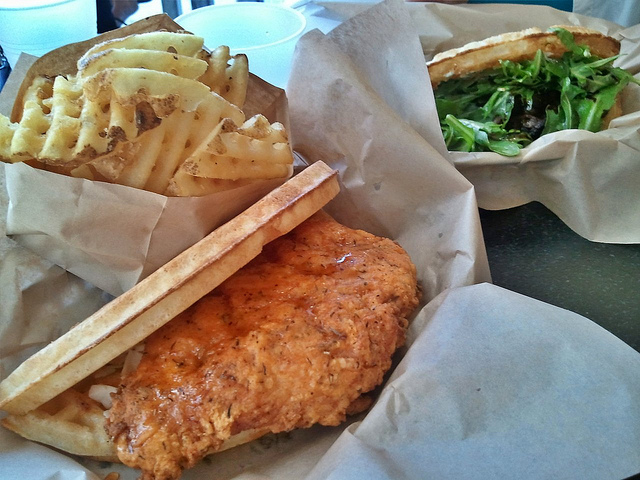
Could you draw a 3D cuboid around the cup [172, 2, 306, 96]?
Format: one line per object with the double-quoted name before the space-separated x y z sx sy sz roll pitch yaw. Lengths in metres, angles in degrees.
"cup" -0.371 -0.885 2.439 0.626 0.368 0.523 -3 43 -9
